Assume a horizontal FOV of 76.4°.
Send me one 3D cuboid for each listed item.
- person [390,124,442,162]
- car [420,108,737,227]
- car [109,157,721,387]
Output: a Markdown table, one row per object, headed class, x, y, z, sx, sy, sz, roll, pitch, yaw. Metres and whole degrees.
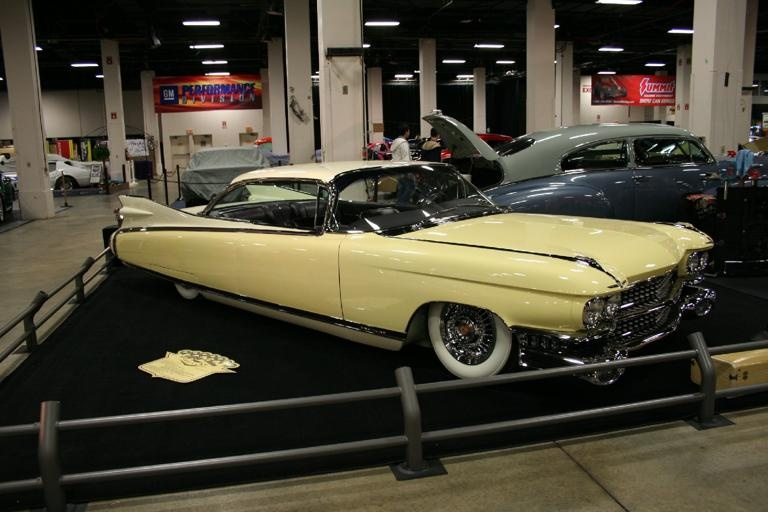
| class | x | y | z | sx | sy | sz | roll | pitch | yaw |
| --- | --- | --- | --- | --- | --- | --- | --- | --- | --- |
| person | 0.684 | -2.376 | 10.305 | 1.069 | 0.392 | 1.479 | 1 | 19 | 7 |
| car | 2.802 | -1.230 | 6.877 | 3.684 | 1.037 | 1.842 | -2 | 15 | -3 |
| car | -0.311 | -0.011 | 5.000 | 5.590 | 1.041 | 2.487 | 4 | 14 | 28 |
